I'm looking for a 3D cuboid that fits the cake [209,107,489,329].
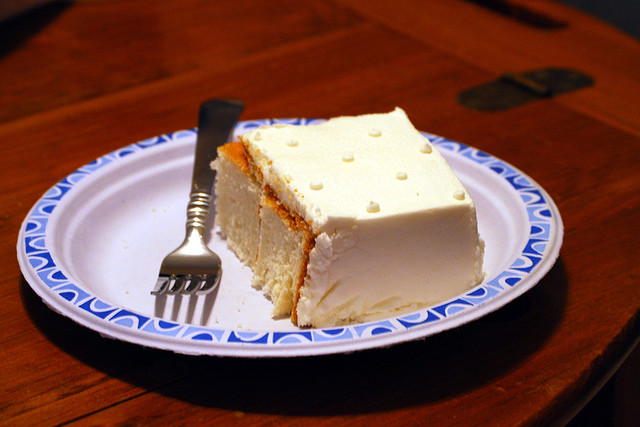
[{"bbox_3d":[0.052,0.043,1.447,0.513,0.249,0.508,-12,42,-15],"label":"cake"}]
